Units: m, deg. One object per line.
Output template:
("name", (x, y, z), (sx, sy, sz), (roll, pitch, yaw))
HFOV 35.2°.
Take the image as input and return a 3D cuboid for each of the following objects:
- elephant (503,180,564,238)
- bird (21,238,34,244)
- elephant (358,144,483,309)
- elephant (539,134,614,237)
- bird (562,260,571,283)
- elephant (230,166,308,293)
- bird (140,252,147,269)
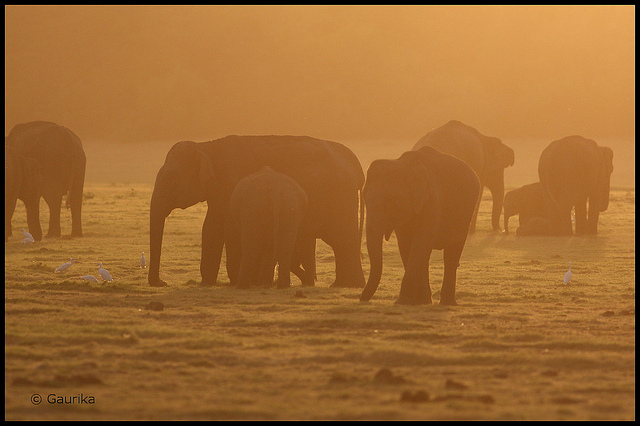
("elephant", (5.659, -0.060, 27.983), (1.313, 1.653, 2.474), (-3, -1, -35))
("bird", (-7.049, 0.661, 24.342), (0.260, 0.137, 0.451), (3, -4, -16))
("elephant", (1.645, 0.175, 17.149), (1.843, 2.747, 1.036), (2, -4, 2))
("elephant", (6.838, -0.757, 27.138), (1.794, 2.789, 1.123), (1, -4, 8))
("bird", (4.800, 1.149, 19.608), (0.143, 0.384, 0.590), (1, -4, 13))
("elephant", (-0.950, 0.278, 18.138), (1.199, 2.246, 0.930), (0, -5, 19))
("bird", (-3.764, 1.037, 21.527), (0.119, 0.284, 0.438), (2, -4, -8))
